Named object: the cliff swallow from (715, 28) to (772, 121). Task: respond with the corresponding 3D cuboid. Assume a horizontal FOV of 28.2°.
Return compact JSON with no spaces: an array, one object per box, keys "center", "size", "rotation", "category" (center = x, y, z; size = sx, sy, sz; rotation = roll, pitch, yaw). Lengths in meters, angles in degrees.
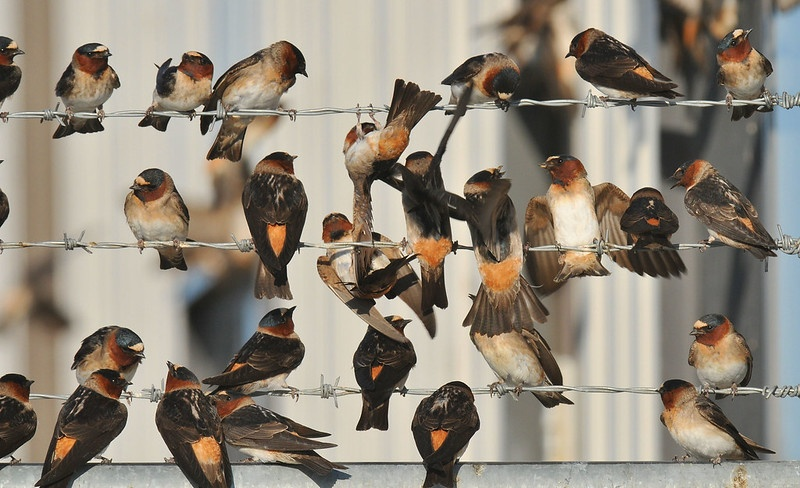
[{"center":[3.835,-1.892,17.865],"size":[0.584,0.914,0.752],"rotation":[1,0,11],"category":"cliff swallow"}]
